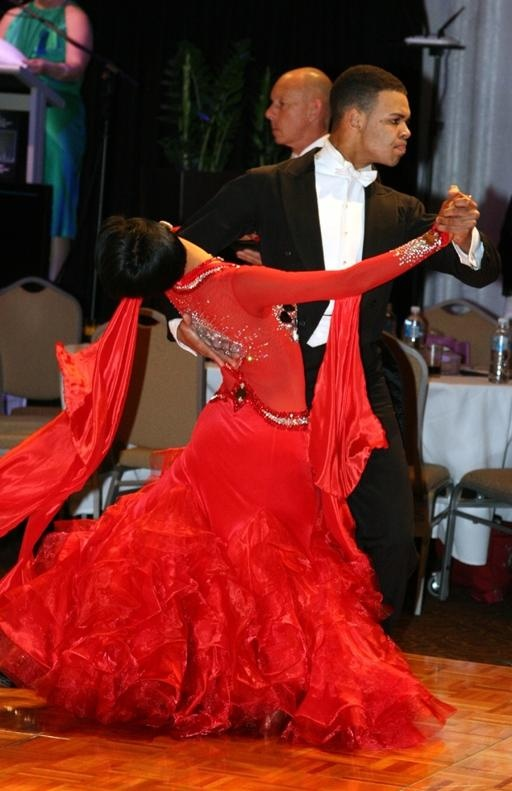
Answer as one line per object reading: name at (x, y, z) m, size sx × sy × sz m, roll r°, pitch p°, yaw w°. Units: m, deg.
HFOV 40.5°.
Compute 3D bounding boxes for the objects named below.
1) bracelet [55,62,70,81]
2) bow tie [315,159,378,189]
bracelet at (-1.434, -2.411, 5.158) m, size 0.077 × 0.096 × 0.136 m, roll 4°, pitch -4°, yaw -16°
bow tie at (0.207, -0.528, 1.636) m, size 0.140 × 0.078 × 0.048 m, roll 3°, pitch -3°, yaw 1°
